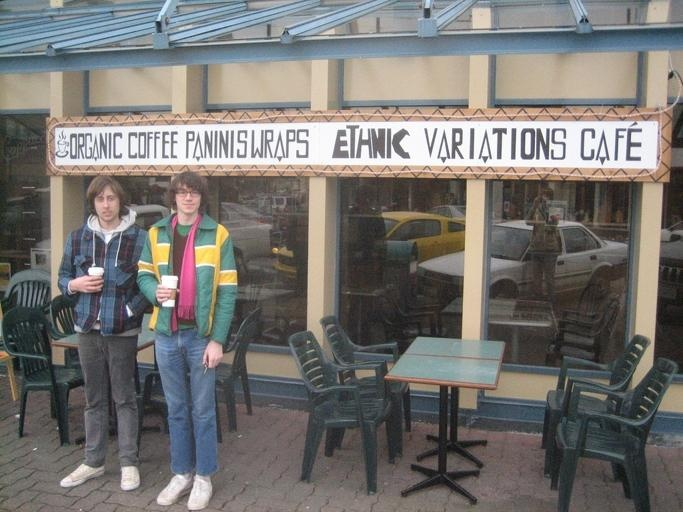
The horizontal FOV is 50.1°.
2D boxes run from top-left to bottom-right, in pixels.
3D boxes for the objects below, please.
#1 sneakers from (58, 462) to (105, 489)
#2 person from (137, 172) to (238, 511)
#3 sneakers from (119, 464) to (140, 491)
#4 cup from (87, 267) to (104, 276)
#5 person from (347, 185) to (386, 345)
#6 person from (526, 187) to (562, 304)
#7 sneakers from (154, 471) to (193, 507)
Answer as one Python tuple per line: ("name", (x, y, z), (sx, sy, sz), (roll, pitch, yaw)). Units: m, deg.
("sneakers", (-2.256, 1.903, 6.370), (0.393, 0.156, 0.143), (-5, 7, -39))
("person", (-1.305, 0.684, 6.039), (0.755, 2.694, 0.744), (5, 13, 19))
("sneakers", (-1.832, 1.884, 6.268), (0.182, 0.187, 0.198), (-1, 13, -8))
("cup", (-2.091, 0.135, 6.168), (0.136, 0.076, 0.084), (-1, 13, -5))
("person", (0.262, 0.199, 8.107), (0.414, 1.588, 0.364), (-1, 19, 8))
("person", (2.061, -0.126, 7.459), (0.304, 1.172, 0.144), (3, 13, 11))
("sneakers", (-1.388, 1.935, 6.112), (0.145, 0.161, 0.378), (10, 16, 28))
